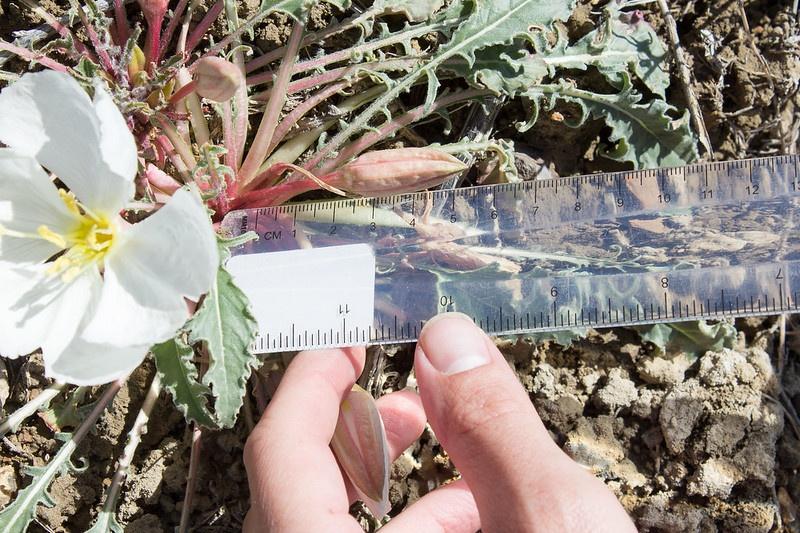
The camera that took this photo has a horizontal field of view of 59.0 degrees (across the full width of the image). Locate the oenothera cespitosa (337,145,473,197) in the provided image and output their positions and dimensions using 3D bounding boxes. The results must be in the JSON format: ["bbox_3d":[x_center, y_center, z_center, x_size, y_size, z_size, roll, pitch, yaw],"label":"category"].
[{"bbox_3d":[-0.014,-0.380,2.938,0.614,0.215,0.190,-4,14,-4],"label":"oenothera cespitosa"}]
